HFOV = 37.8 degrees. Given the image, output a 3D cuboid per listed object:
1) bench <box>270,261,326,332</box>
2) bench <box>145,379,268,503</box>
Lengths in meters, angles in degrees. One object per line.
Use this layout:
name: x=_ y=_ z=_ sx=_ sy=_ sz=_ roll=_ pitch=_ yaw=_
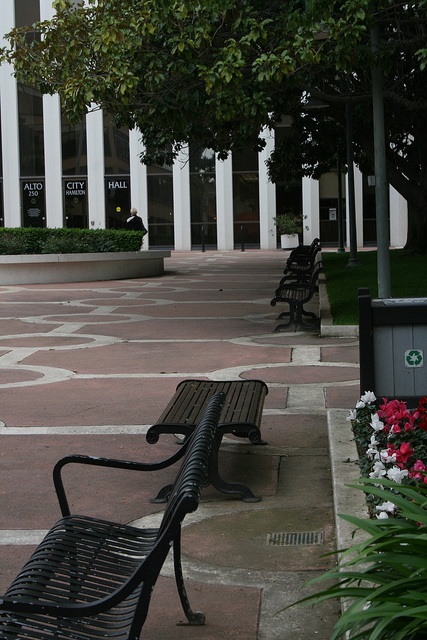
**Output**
bench: x=1.791 y=-0.481 z=13.126 sx=0.925 sy=1.076 sz=2.135 roll=1 pitch=4 yaw=4
bench: x=-0.013 y=1.002 z=4.458 sx=0.624 sy=0.396 sz=1.527 roll=0 pitch=7 yaw=2
